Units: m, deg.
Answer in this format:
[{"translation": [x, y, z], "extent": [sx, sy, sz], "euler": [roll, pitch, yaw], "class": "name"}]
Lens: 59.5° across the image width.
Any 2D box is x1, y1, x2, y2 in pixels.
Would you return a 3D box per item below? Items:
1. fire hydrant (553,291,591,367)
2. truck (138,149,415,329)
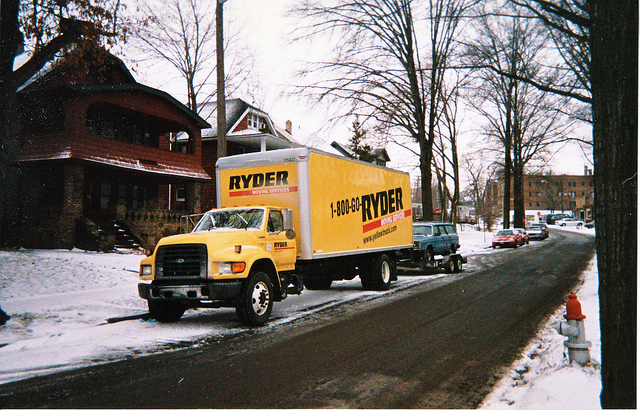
[{"translation": [5.599, 2.794, 12.333], "extent": [0.700, 1.621, 0.618], "euler": [-5, 2, 13], "class": "fire hydrant"}, {"translation": [-0.760, 0.928, 18.828], "extent": [3.632, 4.756, 10.995], "euler": [-5, -3, 34], "class": "truck"}]
